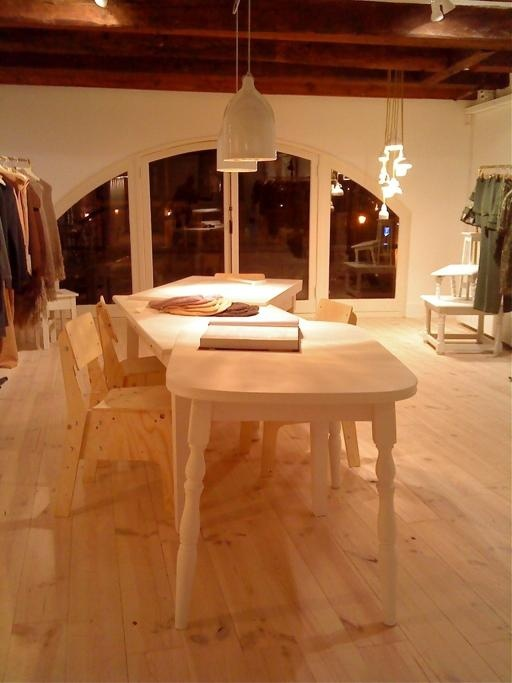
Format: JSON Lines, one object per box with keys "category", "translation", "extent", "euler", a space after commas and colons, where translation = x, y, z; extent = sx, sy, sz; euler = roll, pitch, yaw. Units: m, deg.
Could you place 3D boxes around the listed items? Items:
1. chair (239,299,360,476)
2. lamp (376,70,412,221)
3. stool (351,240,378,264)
{"category": "chair", "translation": [0.169, 0.154, 2.558], "extent": [0.641, 0.941, 0.621], "euler": [1, 5, -6]}
{"category": "lamp", "translation": [1.500, -2.135, 5.487], "extent": [0.376, 1.619, 1.595], "euler": [2, 8, 16]}
{"category": "stool", "translation": [1.364, -1.126, 6.348], "extent": [0.285, 0.339, 0.249], "euler": [5, 13, 14]}
